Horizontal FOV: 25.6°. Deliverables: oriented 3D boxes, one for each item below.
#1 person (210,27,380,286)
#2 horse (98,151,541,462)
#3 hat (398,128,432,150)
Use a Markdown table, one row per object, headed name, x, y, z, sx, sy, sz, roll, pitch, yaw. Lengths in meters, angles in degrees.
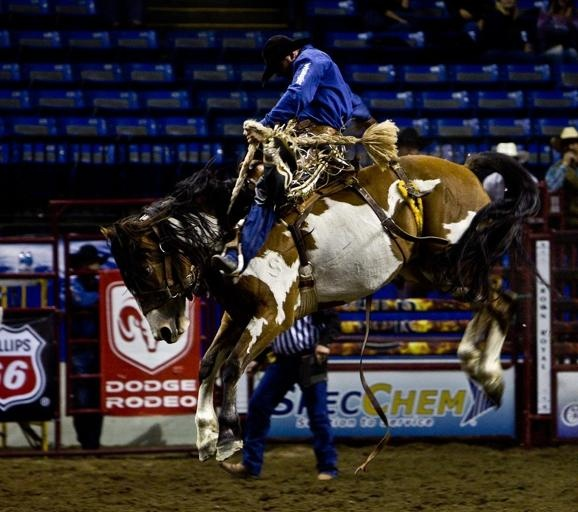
| name | x | y | z | sx | sy | sz | roll | pitch | yaw |
| --- | --- | --- | --- | --- | --- | --- | --- | --- | --- |
| person | 0.054 | -0.817 | 10.262 | 1.285 | 1.935 | 0.583 | -1 | -5 | -38 |
| horse | 0.223 | 0.210 | 11.134 | 1.292 | 2.406 | 5.079 | 15 | 19 | 38 |
| hat | 1.298 | -1.242 | 13.628 | 0.269 | 0.283 | 0.483 | -3 | -3 | 5 |
